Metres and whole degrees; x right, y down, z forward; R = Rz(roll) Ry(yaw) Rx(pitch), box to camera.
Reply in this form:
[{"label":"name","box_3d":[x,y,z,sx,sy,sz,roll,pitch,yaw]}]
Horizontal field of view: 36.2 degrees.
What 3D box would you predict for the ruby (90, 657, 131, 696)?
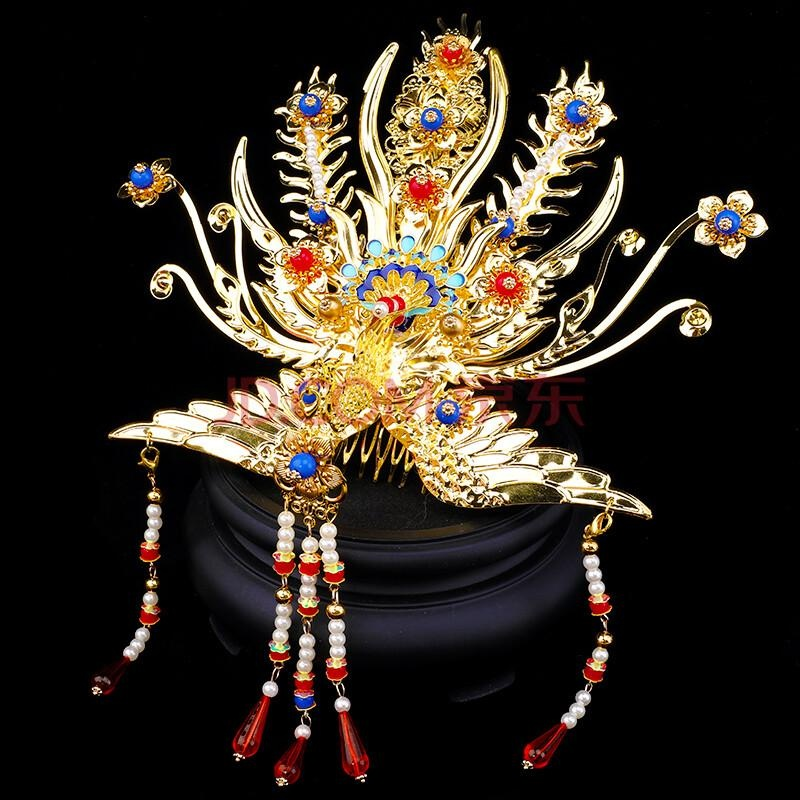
[{"label":"ruby","box_3d":[-0.829,0.801,3.523,0.098,0.101,0.215,0,8,-12]}]
